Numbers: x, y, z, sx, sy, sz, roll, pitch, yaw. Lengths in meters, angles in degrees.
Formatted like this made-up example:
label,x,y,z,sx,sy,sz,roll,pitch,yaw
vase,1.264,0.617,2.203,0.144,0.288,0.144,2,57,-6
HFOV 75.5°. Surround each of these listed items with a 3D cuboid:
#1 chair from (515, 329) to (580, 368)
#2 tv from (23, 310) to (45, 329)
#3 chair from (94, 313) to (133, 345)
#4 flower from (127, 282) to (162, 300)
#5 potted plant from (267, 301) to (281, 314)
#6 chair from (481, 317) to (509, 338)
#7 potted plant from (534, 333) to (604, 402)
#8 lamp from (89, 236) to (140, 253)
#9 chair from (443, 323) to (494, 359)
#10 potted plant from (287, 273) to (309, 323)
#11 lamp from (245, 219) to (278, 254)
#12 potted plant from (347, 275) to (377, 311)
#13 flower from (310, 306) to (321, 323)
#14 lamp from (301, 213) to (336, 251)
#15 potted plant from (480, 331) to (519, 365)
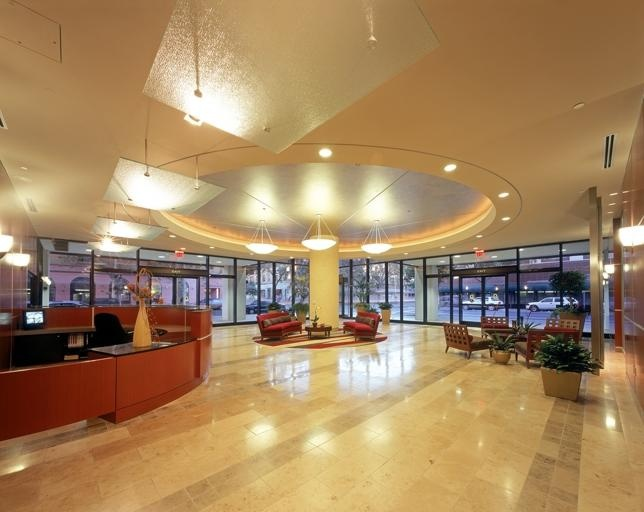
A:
label,x,y,z,sx,sy,sz,roll,pitch,yaw
chair,5.263,2.167,9.804,1.668,0.818,1.467,7,-8,-42
tv,-5.783,1.288,8.322,0.346,0.450,0.244,-2,-16,-44
chair,-3.793,1.412,7.548,0.563,0.733,0.663,-1,-1,-9
flower,-4.374,0.857,10.207,0.762,0.312,0.646,20,-2,-7
potted plant,-2.073,2.285,18.106,0.531,0.403,0.733,-2,4,-16
chair,5.111,2.132,12.269,0.458,0.578,0.513,-4,-29,18
potted plant,4.462,2.048,7.624,1.124,1.134,1.148,-1,-2,31
lamp,-5.672,-0.270,11.140,0.960,0.207,0.921,-2,-4,-4
chair,3.869,2.187,11.001,0.771,0.786,1.008,-3,-2,-16
potted plant,-1.136,2.155,21.035,1.428,2.800,1.516,-2,-1,-15
lamp,-2.205,-0.681,14.595,1.286,1.227,1.250,2,-1,-35
potted plant,2.017,2.191,21.115,1.098,1.762,1.243,6,2,16
flower,-0.227,2.057,14.420,0.290,0.521,0.550,0,5,0
lamp,-0.002,-0.654,13.484,1.116,1.130,1.105,-2,-5,32
potted plant,4.298,2.249,10.285,0.860,0.796,0.845,-4,-8,36
